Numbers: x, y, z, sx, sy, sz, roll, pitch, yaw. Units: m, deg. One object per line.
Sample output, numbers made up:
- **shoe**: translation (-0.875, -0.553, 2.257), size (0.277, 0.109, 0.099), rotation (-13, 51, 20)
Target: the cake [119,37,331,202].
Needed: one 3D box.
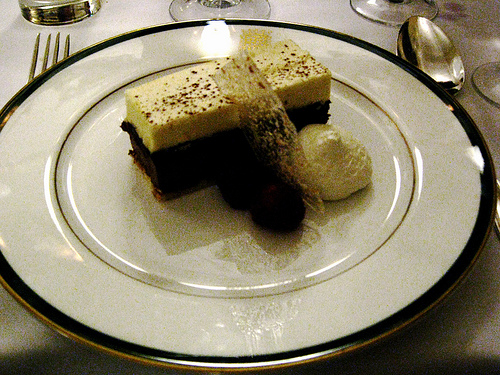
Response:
- **cake**: translation (-0.004, -0.149, 1.626), size (0.607, 0.305, 0.322), rotation (-14, 96, 1)
